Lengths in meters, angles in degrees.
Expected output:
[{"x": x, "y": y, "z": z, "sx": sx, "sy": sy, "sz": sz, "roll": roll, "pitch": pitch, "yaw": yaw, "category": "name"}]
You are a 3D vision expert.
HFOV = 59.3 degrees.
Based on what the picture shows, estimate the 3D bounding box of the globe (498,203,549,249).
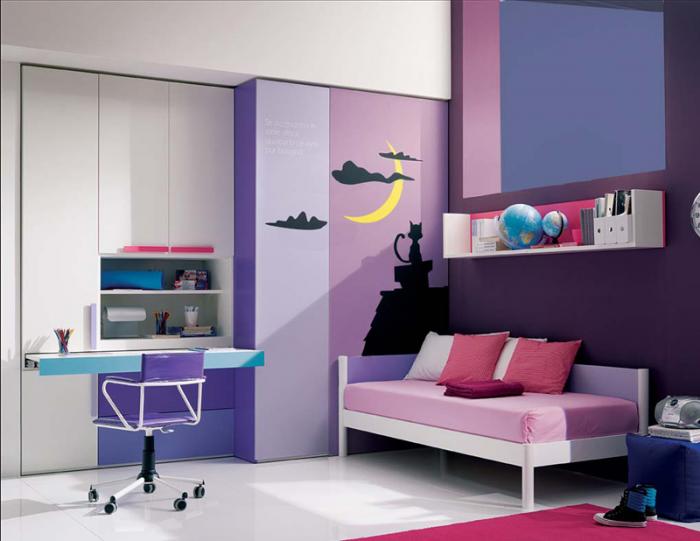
[{"x": 1.321, "y": -0.338, "z": 4.810, "sx": 0.343, "sy": 0.400, "sz": 0.340, "roll": 1, "pitch": 0, "yaw": 15, "category": "globe"}]

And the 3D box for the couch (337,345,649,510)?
[{"x": 0.919, "y": 1.088, "z": 4.576, "sx": 1.061, "sy": 0.823, "sz": 2.097, "roll": 3, "pitch": -4, "yaw": -35, "category": "couch"}]

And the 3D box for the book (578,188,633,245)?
[{"x": 1.703, "y": -0.342, "z": 4.145, "sx": 0.056, "sy": 0.367, "sz": 0.443, "roll": 2, "pitch": -4, "yaw": -25, "category": "book"}]

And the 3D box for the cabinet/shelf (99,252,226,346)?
[{"x": -1.563, "y": 0.258, "z": 4.983, "sx": 1.116, "sy": 0.757, "sz": 0.345, "roll": 0, "pitch": -2, "yaw": -43, "category": "cabinet/shelf"}]

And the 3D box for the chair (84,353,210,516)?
[{"x": -1.259, "y": 0.989, "z": 3.964, "sx": 0.709, "sy": 0.964, "sz": 0.735, "roll": -4, "pitch": -13, "yaw": 26, "category": "chair"}]
